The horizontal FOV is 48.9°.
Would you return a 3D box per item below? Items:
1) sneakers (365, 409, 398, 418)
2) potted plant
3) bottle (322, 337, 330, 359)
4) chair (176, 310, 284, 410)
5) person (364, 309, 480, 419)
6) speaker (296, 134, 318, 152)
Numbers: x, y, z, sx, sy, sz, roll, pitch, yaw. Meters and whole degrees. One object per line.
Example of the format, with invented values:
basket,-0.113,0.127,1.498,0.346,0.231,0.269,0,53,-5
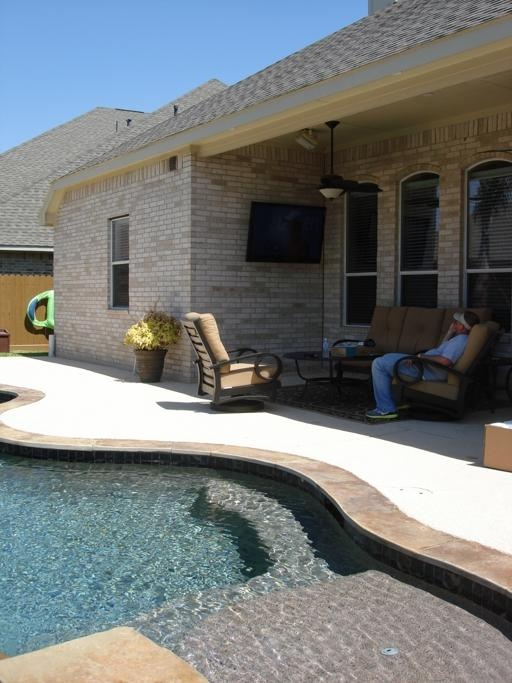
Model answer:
sneakers,1.380,0.779,6.130,0.336,0.131,0.118,6,-6,-4
potted plant,-1.681,0.025,9.635,1.128,1.483,1.164,0,2,-8
bottle,0.869,0.075,6.827,0.090,0.230,0.332,2,5,7
chair,-0.284,0.224,6.764,1.180,1.088,0.815,0,3,-18
person,1.670,0.251,6.332,1.341,1.285,0.872,8,1,-36
speaker,0.809,-3.100,8.725,0.189,0.066,0.269,-11,-14,7
